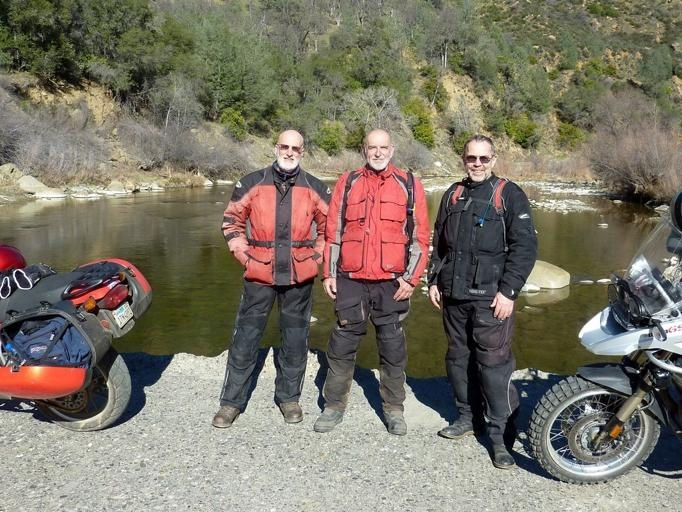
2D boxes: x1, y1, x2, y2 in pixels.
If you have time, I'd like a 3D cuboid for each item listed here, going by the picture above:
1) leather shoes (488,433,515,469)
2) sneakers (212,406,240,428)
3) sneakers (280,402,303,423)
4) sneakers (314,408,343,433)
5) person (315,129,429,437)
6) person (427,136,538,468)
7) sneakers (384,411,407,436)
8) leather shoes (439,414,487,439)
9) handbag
[{"bbox_3d":[1.189,1.462,3.872,0.105,0.073,0.250,-1,6,3],"label":"leather shoes"},{"bbox_3d":[-0.955,1.310,4.343,0.152,0.112,0.282,3,12,11],"label":"sneakers"},{"bbox_3d":[-0.425,1.300,4.459,0.192,0.121,0.270,-1,12,-9],"label":"sneakers"},{"bbox_3d":[-0.102,1.329,4.306,0.141,0.133,0.293,8,14,32],"label":"sneakers"},{"bbox_3d":[0.274,0.175,4.347,0.901,2.420,0.819,2,11,4],"label":"person"},{"bbox_3d":[1.056,0.270,4.080,0.951,2.381,0.681,10,15,38],"label":"person"},{"bbox_3d":[0.451,1.346,4.288,0.184,0.126,0.269,2,12,2],"label":"sneakers"},{"bbox_3d":[0.985,1.381,4.198,0.398,0.162,0.150,-3,8,-8],"label":"leather shoes"},{"bbox_3d":[-2.114,0.629,3.804,0.613,0.314,0.248,3,12,11],"label":"handbag"}]
